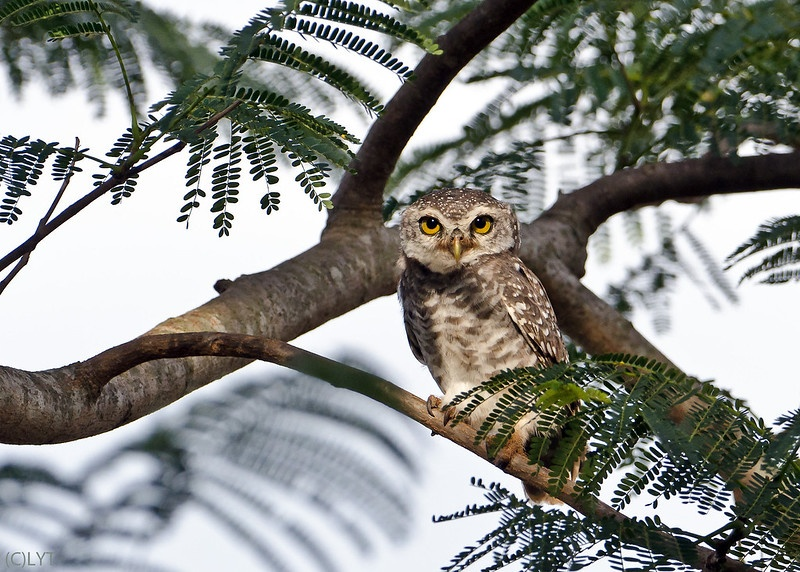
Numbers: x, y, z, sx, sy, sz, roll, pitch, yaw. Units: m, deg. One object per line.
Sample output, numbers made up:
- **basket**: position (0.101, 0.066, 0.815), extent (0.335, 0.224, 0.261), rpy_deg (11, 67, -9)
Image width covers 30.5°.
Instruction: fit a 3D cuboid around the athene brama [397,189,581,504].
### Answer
- **athene brama**: position (0.333, 0.285, 6.395), extent (0.622, 0.695, 1.358), rpy_deg (-5, -88, 0)
